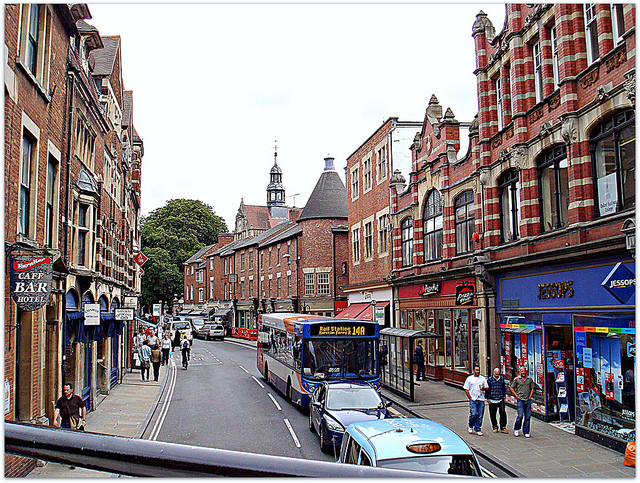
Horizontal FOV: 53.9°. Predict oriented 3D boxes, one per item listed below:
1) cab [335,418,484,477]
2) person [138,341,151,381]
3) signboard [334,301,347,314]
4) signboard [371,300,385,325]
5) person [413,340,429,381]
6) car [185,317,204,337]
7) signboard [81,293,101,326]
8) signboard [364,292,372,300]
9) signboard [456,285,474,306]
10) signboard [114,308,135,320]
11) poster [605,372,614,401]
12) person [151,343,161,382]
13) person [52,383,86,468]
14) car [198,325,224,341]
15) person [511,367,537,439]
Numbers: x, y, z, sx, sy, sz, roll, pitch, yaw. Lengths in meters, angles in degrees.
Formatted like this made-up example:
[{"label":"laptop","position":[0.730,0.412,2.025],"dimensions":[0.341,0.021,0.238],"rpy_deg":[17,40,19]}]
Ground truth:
[{"label":"cab","position":[1.749,4.959,13.540],"dimensions":[2.720,2.067,2.518],"rpy_deg":[0,-11,-7]},{"label":"person","position":[-8.552,5.812,31.414],"dimensions":[0.560,2.003,0.563],"rpy_deg":[10,17,32]},{"label":"signboard","position":[1.518,4.912,47.399],"dimensions":[0.811,0.922,0.112],"rpy_deg":[3,-8,-23]},{"label":"signboard","position":[3.179,3.919,34.860],"dimensions":[0.219,1.820,1.194],"rpy_deg":[-4,4,-43]},{"label":"person","position":[4.727,5.745,30.038],"dimensions":[0.552,1.415,2.001],"rpy_deg":[-1,-2,9]},{"label":"car","position":[-13.263,8.937,68.116],"dimensions":[1.344,1.387,2.467],"rpy_deg":[3,-9,-22]},{"label":"signboard","position":[-8.369,2.630,23.018],"dimensions":[0.625,0.827,0.579],"rpy_deg":[-1,-1,-22]},{"label":"signboard","position":[2.954,3.377,39.334],"dimensions":[0.102,0.424,0.388],"rpy_deg":[7,-8,-33]},{"label":"signboard","position":[6.118,2.280,26.715],"dimensions":[0.099,0.662,0.720],"rpy_deg":[15,-20,-20]},{"label":"signboard","position":[-8.613,3.150,27.624],"dimensions":[0.695,0.530,0.107],"rpy_deg":[2,-36,-10]},{"label":"poster","position":[8.334,4.163,18.257],"dimensions":[0.100,0.750,0.389],"rpy_deg":[-1,-1,-20]},{"label":"person","position":[-8.257,6.036,31.609],"dimensions":[0.387,1.663,2.161],"rpy_deg":[-1,-2,-15]},{"label":"person","position":[-6.672,4.455,16.799],"dimensions":[0.770,1.317,1.207],"rpy_deg":[-1,-1,-24]},{"label":"car","position":[-11.111,9.120,63.564],"dimensions":[1.307,1.503,3.661],"rpy_deg":[0,-2,-40]},{"label":"person","position":[6.064,4.796,18.886],"dimensions":[0.699,1.847,0.655],"rpy_deg":[-1,-1,20]}]
